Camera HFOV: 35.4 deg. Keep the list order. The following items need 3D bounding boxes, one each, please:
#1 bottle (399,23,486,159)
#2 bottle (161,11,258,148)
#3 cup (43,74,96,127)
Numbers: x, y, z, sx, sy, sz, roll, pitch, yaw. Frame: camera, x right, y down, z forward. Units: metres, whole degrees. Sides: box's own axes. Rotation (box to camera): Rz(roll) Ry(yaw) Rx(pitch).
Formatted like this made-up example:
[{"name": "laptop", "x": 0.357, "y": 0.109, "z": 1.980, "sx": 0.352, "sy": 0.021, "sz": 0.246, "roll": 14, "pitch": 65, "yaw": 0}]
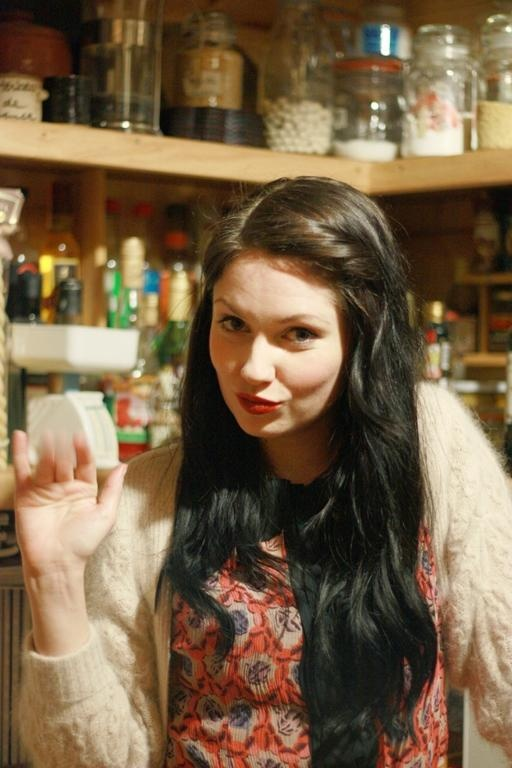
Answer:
[{"name": "bottle", "x": 0.274, "y": -0.442, "z": 1.200, "sx": 0.108, "sy": 0.203, "sz": 0.122, "roll": 0, "pitch": 10, "yaw": 13}, {"name": "bottle", "x": -0.067, "y": -0.450, "z": 1.180, "sx": 0.145, "sy": 0.201, "sz": 0.140, "roll": -2, "pitch": 10, "yaw": 0}, {"name": "cup", "x": -0.249, "y": -0.372, "z": 1.092, "sx": 0.078, "sy": 0.076, "sz": 0.074, "roll": 0, "pitch": 4, "yaw": 0}]
